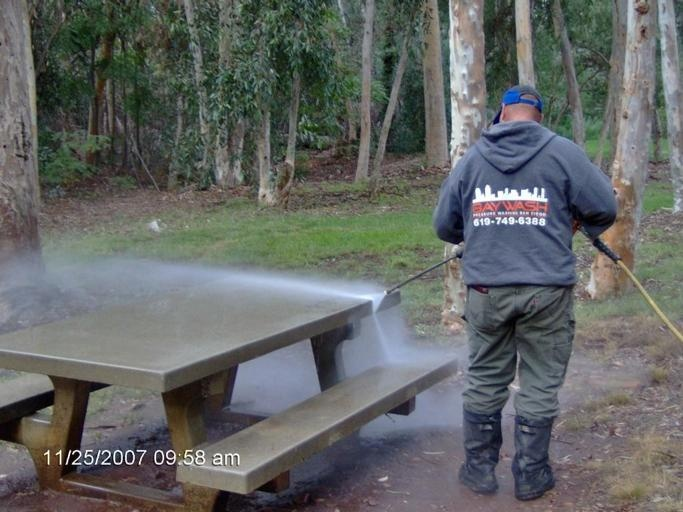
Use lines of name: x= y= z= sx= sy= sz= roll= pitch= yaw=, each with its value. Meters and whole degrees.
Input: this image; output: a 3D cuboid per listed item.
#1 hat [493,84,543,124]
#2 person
hat: x=1.393 y=-1.205 z=5.593 sx=0.268 sy=0.257 sz=0.430 roll=3 pitch=-5 yaw=-10
person: x=1.361 y=0.379 z=5.383 sx=1.143 sy=2.748 sz=0.491 roll=-1 pitch=7 yaw=7
